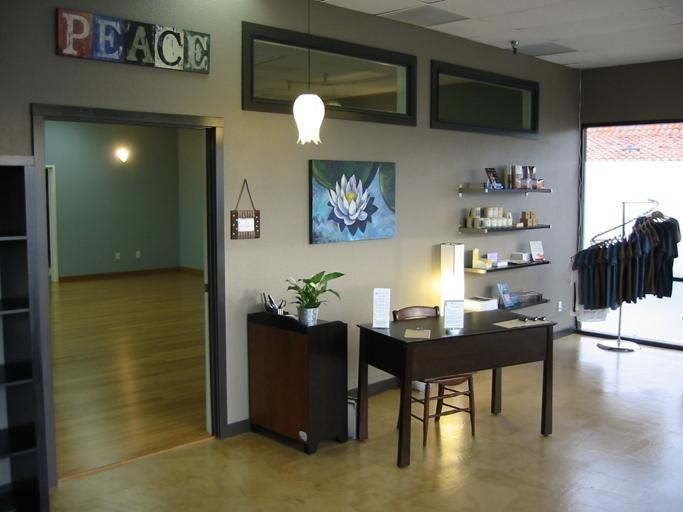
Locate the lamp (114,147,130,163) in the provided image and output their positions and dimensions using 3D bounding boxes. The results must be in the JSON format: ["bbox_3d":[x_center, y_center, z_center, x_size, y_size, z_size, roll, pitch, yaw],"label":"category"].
[{"bbox_3d":[-4.868,-2.263,11.567,0.367,0.367,0.077,-7,11,-41],"label":"lamp"}]

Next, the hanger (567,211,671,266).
[{"bbox_3d":[3.665,-0.182,6.537,0.747,0.430,0.767,-17,15,-21],"label":"hanger"}]

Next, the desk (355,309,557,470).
[{"bbox_3d":[1.055,1.143,4.787,1.605,1.182,0.840,-2,6,-23],"label":"desk"}]

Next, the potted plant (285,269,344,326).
[{"bbox_3d":[-0.276,0.358,4.338,0.540,0.427,0.453,1,1,36],"label":"potted plant"}]

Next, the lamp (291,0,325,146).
[{"bbox_3d":[-0.299,-1.637,4.482,0.299,1.323,0.871,0,8,-2],"label":"lamp"}]

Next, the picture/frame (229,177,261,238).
[{"bbox_3d":[-0.846,-0.408,4.514,0.072,0.511,0.285,7,11,42],"label":"picture/frame"}]

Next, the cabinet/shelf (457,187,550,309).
[{"bbox_3d":[2.049,-0.388,6.537,1.520,1.071,0.353,-6,10,-38],"label":"cabinet/shelf"}]
